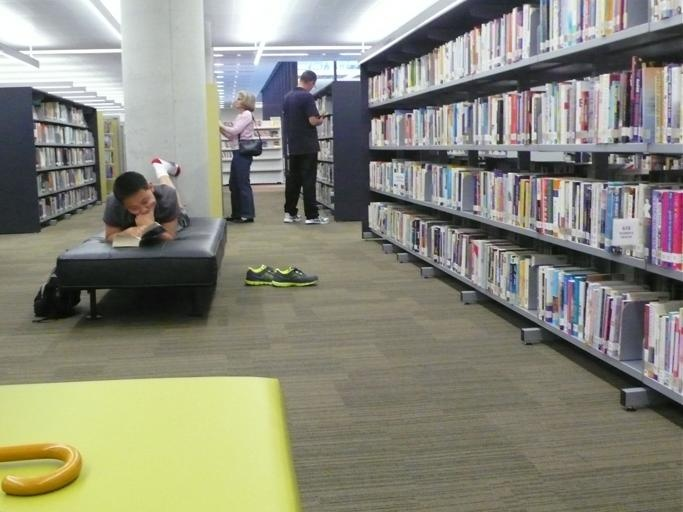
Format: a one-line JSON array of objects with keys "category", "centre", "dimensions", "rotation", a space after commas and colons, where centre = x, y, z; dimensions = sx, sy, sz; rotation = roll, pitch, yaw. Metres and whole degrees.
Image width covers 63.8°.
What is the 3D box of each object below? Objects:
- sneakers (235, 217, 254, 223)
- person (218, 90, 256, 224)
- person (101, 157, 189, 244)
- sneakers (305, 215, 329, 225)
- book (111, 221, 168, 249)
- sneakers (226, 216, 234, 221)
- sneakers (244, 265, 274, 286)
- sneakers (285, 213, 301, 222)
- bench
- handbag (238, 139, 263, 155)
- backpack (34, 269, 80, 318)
[{"category": "sneakers", "centre": [-1.440, -0.522, 8.064], "dimensions": [0.251, 0.093, 0.090], "rotation": [3, -6, -34]}, {"category": "person", "centre": [-1.487, -1.429, 7.926], "dimensions": [0.502, 1.862, 0.667], "rotation": [-2, 11, -8]}, {"category": "person", "centre": [-1.308, -0.368, 3.824], "dimensions": [0.404, 0.375, 0.948], "rotation": [-2, 12, 2]}, {"category": "sneakers", "centre": [-0.331, -0.514, 7.704], "dimensions": [0.364, 0.157, 0.127], "rotation": [-2, 7, -10]}, {"category": "book", "centre": [-1.282, -0.127, 3.413], "dimensions": [0.264, 0.111, 0.157], "rotation": [0, 7, 0]}, {"category": "sneakers", "centre": [-1.655, -0.546, 8.082], "dimensions": [0.043, 0.092, 0.184], "rotation": [7, -2, -26]}, {"category": "sneakers", "centre": [-0.661, 0.150, 4.385], "dimensions": [0.227, 0.136, 0.194], "rotation": [-3, 12, -10]}, {"category": "sneakers", "centre": [-0.720, -0.553, 7.914], "dimensions": [0.275, 0.117, 0.094], "rotation": [-3, 9, -1]}, {"category": "bench", "centre": [-1.317, 0.106, 3.777], "dimensions": [0.979, 0.492, 1.013], "rotation": [-2, 11, -7]}, {"category": "handbag", "centre": [-1.297, -1.533, 7.738], "dimensions": [0.311, 0.256, 0.298], "rotation": [-1, 11, 0]}, {"category": "backpack", "centre": [-1.764, 0.275, 3.529], "dimensions": [0.380, 0.253, 0.141], "rotation": [-2, 13, -25]}]
